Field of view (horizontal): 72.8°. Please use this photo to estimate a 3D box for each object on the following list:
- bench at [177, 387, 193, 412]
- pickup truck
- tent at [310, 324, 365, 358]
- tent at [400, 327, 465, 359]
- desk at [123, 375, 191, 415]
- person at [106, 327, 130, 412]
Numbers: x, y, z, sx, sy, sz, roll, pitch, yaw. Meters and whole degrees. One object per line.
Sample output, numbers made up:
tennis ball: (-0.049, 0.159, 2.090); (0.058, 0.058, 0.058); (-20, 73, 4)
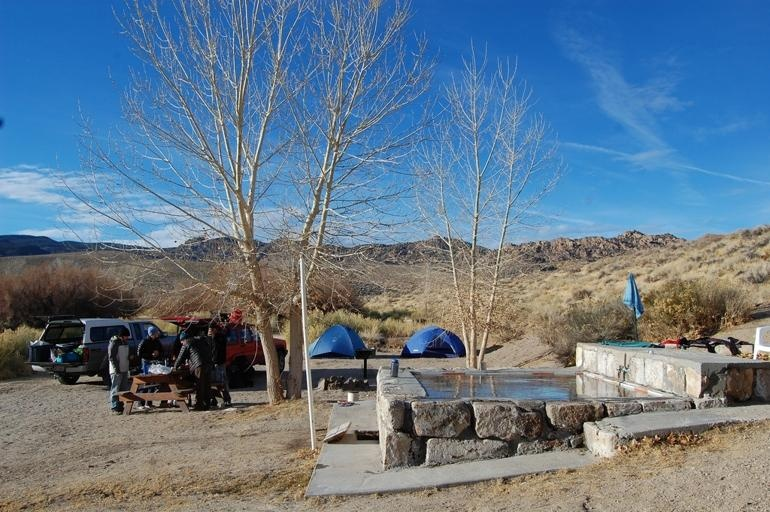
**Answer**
bench: (-5.120, 3.661, 13.320); (0.343, 0.455, 0.621); (0, -4, -7)
pickup truck: (-9.238, 3.022, 17.685); (2.297, 1.987, 4.902); (-1, -4, 14)
tent: (-2.065, 3.852, 22.633); (2.082, 1.136, 2.151); (0, -6, -1)
tent: (2.164, 3.989, 23.436); (2.750, 1.459, 2.077); (-1, -1, 16)
desk: (-5.791, 3.467, 13.382); (1.670, 1.061, 0.889); (-5, 1, -4)
person: (-7.112, 2.933, 13.679); (0.643, 2.123, 0.964); (0, -1, 14)
